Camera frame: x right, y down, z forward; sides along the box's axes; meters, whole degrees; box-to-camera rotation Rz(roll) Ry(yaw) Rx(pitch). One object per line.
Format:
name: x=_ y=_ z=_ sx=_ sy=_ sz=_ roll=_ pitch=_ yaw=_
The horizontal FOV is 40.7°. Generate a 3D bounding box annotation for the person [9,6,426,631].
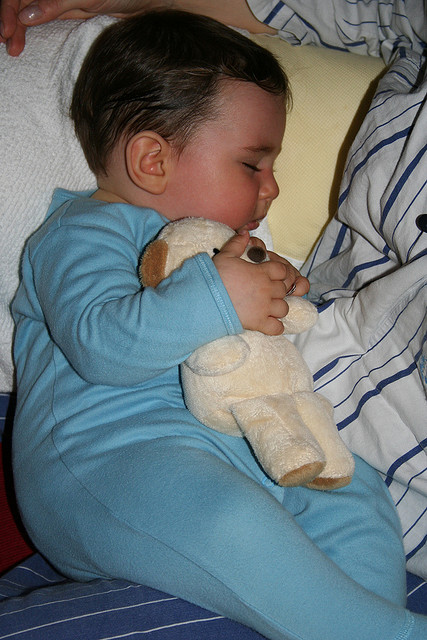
person: x=-0.101 y=-0.053 z=1.222 sx=0.896 sy=1.000 sz=0.761 roll=4 pitch=1 yaw=13

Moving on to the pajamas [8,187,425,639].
pajamas: x=-0.052 y=0.234 z=0.993 sx=0.668 sy=0.453 sz=0.643 roll=-10 pitch=71 yaw=7

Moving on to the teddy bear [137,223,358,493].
teddy bear: x=0.045 y=0.055 z=0.763 sx=0.243 sy=0.113 sz=0.374 roll=-4 pitch=46 yaw=-36
